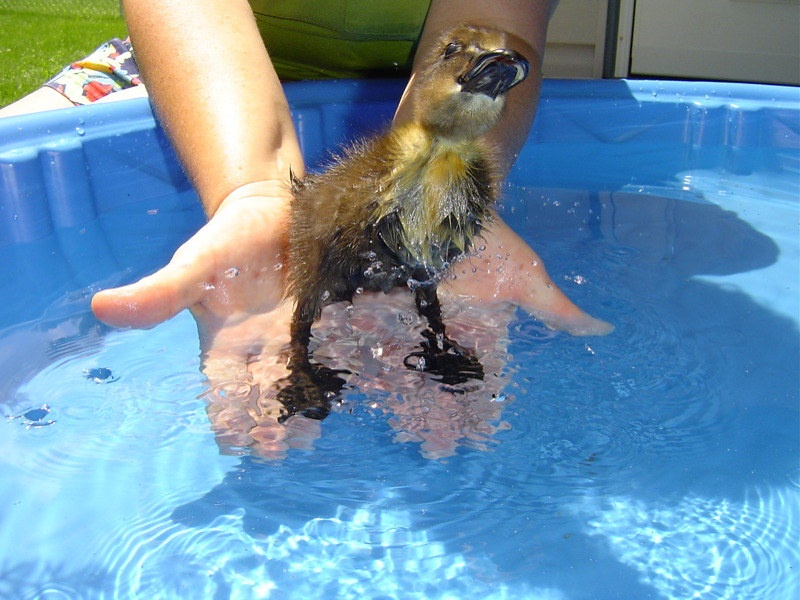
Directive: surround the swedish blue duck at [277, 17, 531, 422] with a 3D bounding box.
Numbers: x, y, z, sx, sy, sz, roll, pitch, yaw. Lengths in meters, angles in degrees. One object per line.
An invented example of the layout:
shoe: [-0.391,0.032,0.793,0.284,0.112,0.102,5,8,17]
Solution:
swedish blue duck: [-0.025,-0.143,1.344,0.401,0.510,0.779,6,6,-23]
